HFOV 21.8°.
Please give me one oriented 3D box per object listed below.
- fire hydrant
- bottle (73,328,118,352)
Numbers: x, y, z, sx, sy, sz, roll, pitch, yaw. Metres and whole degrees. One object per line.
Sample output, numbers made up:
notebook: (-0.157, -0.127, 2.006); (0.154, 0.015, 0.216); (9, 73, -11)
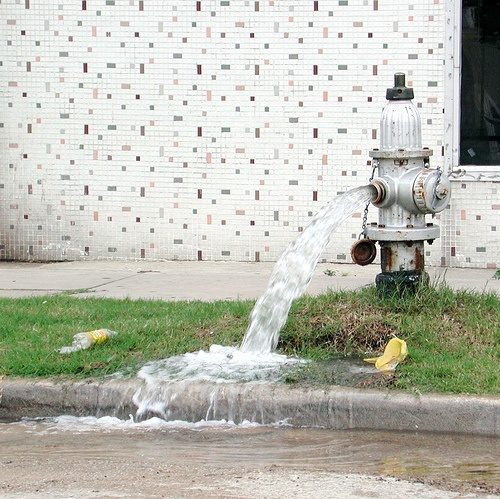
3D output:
fire hydrant: (1.231, -0.532, 10.573); (0.783, 1.807, 0.401); (1, 3, 9)
bottle: (-1.193, 0.701, 9.966); (0.146, 0.128, 0.417); (3, 3, 40)
